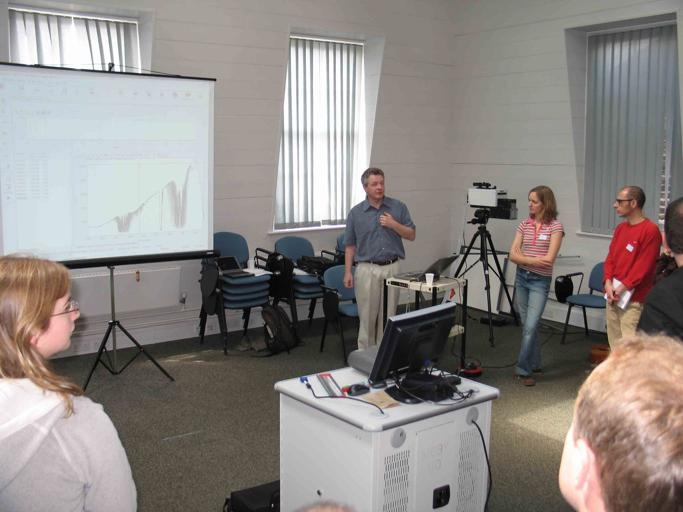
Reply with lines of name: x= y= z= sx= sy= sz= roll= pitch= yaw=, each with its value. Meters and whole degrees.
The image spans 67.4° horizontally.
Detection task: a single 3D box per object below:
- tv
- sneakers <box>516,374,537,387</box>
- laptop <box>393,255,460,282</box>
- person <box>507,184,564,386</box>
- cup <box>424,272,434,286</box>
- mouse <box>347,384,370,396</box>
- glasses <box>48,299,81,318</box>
tv: x=0.371 y=0.460 z=2.538 sx=0.463 sy=0.400 sz=0.334 roll=0 pitch=10 yaw=-4
sneakers: x=1.712 y=1.162 z=4.769 sx=0.080 sy=0.081 sz=0.176 roll=0 pitch=-3 yaw=-24
laptop: x=0.787 y=0.106 z=4.585 sx=0.316 sy=0.162 sz=0.326 roll=3 pitch=5 yaw=38
person: x=1.784 y=0.262 z=4.773 sx=0.440 sy=1.792 sz=0.472 roll=5 pitch=10 yaw=24
cup: x=0.759 y=0.197 z=4.427 sx=0.078 sy=0.097 sz=0.083 roll=1 pitch=2 yaw=0
mouse: x=0.081 y=0.646 z=2.523 sx=0.082 sy=0.031 sz=0.048 roll=-6 pitch=10 yaw=-42
glasses: x=-0.781 y=0.147 z=1.434 sx=0.075 sy=0.025 sz=0.078 roll=-10 pitch=6 yaw=-6
